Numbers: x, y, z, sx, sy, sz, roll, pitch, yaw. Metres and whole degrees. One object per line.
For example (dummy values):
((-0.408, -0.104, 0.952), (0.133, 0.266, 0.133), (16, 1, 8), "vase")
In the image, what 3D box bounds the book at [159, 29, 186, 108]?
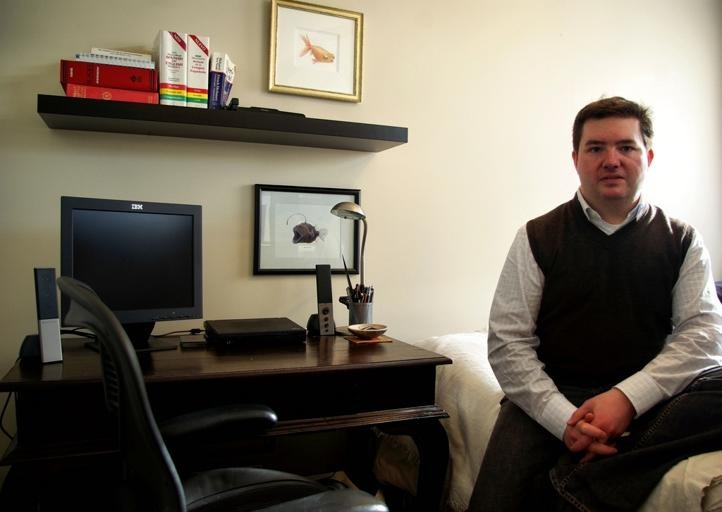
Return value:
((-0.809, -0.797, 2.361), (0.118, 0.319, 0.333), (-1, 4, -21), "book")

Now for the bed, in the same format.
((0.697, 0.466, 2.115), (0.623, 0.521, 1.102), (9, -8, -21), "bed")

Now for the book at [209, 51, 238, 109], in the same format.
((-0.615, -0.772, 2.461), (0.052, 0.247, 0.135), (4, 7, 36), "book")

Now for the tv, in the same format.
((-0.872, 0.063, 2.085), (0.622, 0.684, 0.269), (1, -8, -26), "tv")

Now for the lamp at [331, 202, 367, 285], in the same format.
((-0.055, -0.058, 2.690), (0.183, 0.411, 0.329), (0, 6, -2), "lamp")
